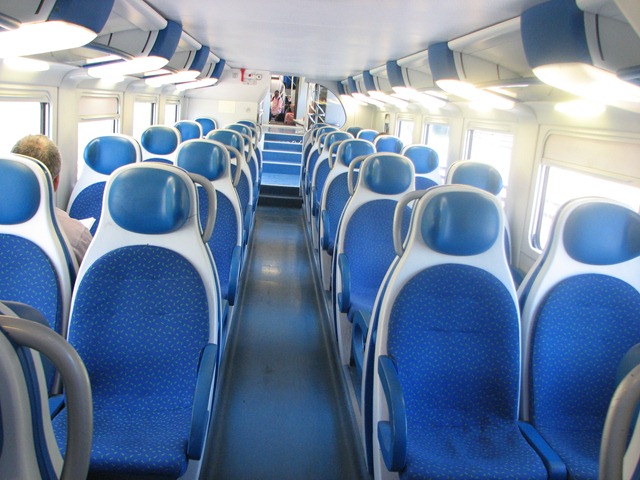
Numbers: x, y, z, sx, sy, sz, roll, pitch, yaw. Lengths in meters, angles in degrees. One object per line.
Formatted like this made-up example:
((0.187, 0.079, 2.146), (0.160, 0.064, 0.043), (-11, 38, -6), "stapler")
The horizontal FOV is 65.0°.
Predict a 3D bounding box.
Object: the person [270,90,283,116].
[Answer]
((-1.707, -5.533, 20.198), (0.484, 0.541, 0.899), (6, -48, -6), "person")

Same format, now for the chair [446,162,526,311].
((1.122, -0.168, 3.680), (0.488, 0.945, 0.750), (5, -1, 11), "chair")

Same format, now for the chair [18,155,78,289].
((-1.246, -0.095, 2.486), (0.326, 0.284, 0.529), (-1, -89, 5), "chair")
